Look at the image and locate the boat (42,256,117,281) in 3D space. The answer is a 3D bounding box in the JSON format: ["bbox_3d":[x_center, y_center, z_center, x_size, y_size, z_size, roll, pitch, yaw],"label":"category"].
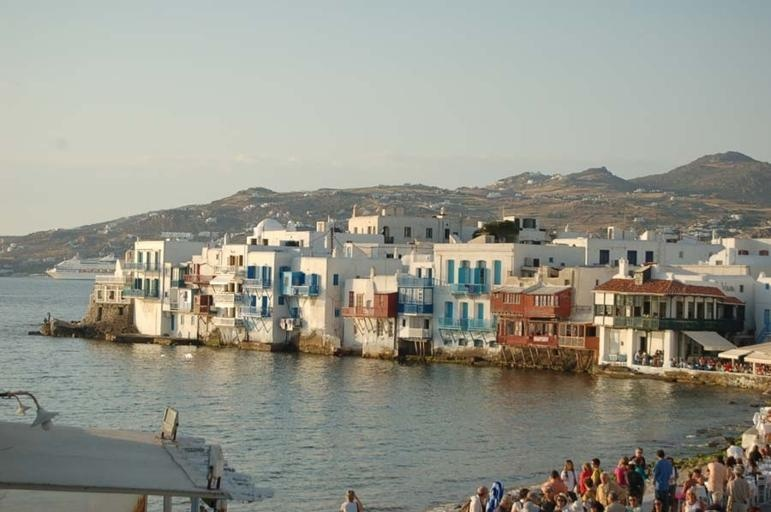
[{"bbox_3d":[-99.969,5.336,475.721,20.221,6.806,35.408,0,-2,-15],"label":"boat"}]
